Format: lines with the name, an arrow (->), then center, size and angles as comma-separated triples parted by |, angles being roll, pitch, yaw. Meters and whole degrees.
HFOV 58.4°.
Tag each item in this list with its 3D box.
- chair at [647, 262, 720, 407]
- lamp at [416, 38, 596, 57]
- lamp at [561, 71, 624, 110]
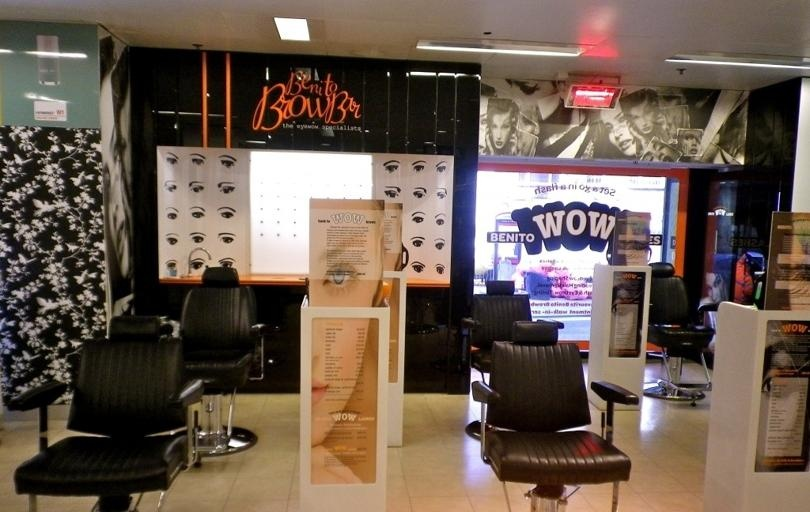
chair -> 3.536, 0.924, 9.272 | 0.775, 1.664, 1.278 | 3, 6, 22
lamp -> 1.103, -2.367, 8.326 | 1.922, 0.116, 0.381 | 0, 5, -2
lamp -> 2.373, -2.052, 9.145 | 0.767, 0.397, 0.476 | 3, 25, 4
